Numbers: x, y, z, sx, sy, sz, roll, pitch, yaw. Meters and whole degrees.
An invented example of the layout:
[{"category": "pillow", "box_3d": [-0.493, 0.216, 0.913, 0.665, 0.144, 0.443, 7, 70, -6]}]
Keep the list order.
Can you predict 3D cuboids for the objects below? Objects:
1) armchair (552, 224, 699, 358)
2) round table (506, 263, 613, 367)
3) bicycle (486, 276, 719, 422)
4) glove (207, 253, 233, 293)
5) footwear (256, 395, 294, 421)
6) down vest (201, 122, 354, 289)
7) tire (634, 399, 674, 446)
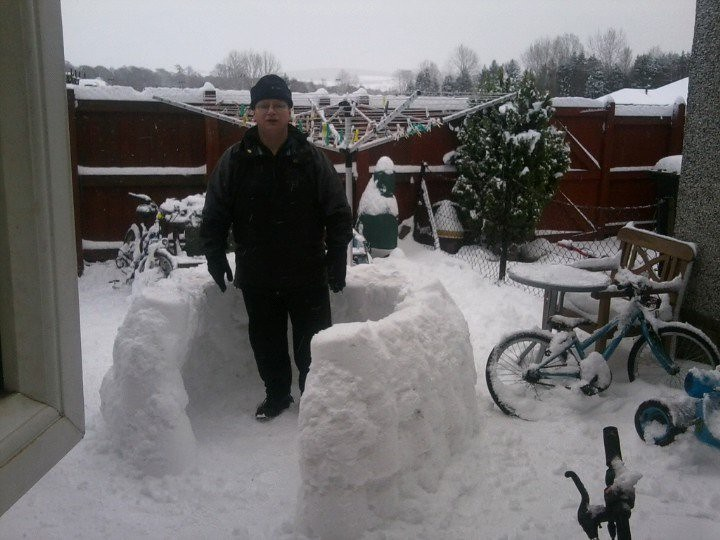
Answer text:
[{"category": "armchair", "box_3d": [2.198, 0.120, 4.981, 0.809, 1.471, 1.063, -3, 18, -13]}, {"category": "round table", "box_3d": [1.456, 0.312, 4.271, 0.532, 0.479, 0.609, 2, 20, 0]}, {"category": "bicycle", "box_3d": [1.644, 0.554, 4.593, 1.808, 1.259, 0.864, -8, 7, 12]}, {"category": "glove", "box_3d": [-0.906, 0.013, 3.707, 0.099, 0.241, 0.204, -25, 30, 0]}, {"category": "footwear", "box_3d": [-0.606, 0.949, 3.948, 0.300, 0.164, 0.111, -8, 11, -34]}, {"category": "down vest", "box_3d": [-0.527, -0.385, 3.773, 0.943, 1.135, 0.523, 0, -9, -5]}, {"category": "tire", "box_3d": [1.857, 0.961, 3.549, 0.091, 0.297, 0.258, 3, -6, -24]}]
